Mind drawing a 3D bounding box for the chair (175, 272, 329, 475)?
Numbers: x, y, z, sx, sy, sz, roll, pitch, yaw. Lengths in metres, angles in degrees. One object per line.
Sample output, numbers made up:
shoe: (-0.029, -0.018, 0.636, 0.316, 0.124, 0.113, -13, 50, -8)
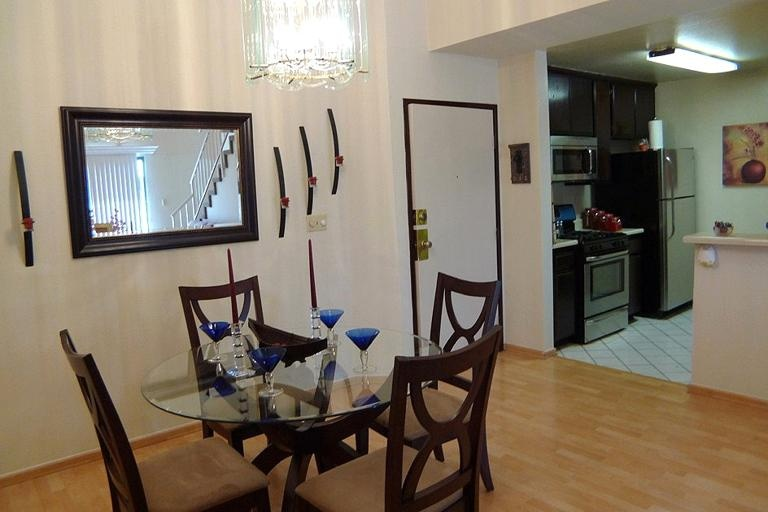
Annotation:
chair: (-0.915, 0.861, 3.963, 0.889, 1.235, 0.948, -3, 15, -2)

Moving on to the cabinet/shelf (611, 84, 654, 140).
cabinet/shelf: (3.079, -1.779, 7.096, 0.743, 0.682, 0.235, -6, 6, -44)

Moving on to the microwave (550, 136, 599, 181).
microwave: (2.051, -1.055, 6.236, 0.527, 0.424, 0.289, -1, 11, -2)

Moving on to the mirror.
mirror: (-1.757, -0.573, 4.300, 1.077, 0.899, 0.076, -8, 10, -28)

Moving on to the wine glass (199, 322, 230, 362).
wine glass: (-1.031, 0.543, 3.528, 0.184, 0.225, 0.184, -3, -6, -35)

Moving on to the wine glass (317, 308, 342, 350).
wine glass: (-0.339, 0.465, 3.632, 0.193, 0.216, 0.198, -5, 5, -16)

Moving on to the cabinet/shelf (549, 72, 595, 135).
cabinet/shelf: (2.031, -1.642, 6.180, 0.182, 0.709, 0.839, 12, 20, 43)

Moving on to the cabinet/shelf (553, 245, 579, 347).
cabinet/shelf: (1.885, 0.426, 5.934, 0.185, 1.023, 0.474, 11, 19, 42)

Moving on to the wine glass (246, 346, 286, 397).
wine glass: (-0.623, 0.637, 3.109, 0.187, 0.240, 0.189, -4, -7, -15)

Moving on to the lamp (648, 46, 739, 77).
lamp: (3.392, -2.154, 6.277, 1.476, 0.229, 0.380, -13, 18, -35)
